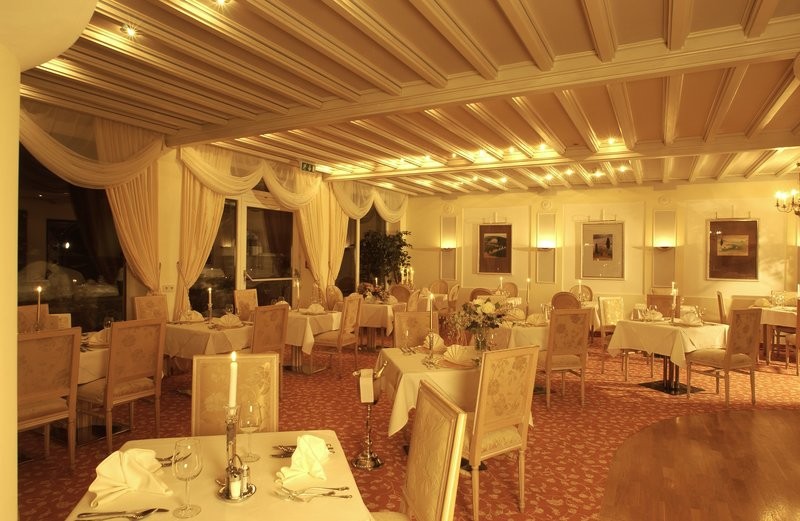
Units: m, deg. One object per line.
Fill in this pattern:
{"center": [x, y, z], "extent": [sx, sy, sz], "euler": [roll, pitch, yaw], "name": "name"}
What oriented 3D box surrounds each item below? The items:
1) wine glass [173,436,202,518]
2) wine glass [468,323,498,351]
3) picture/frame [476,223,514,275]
{"center": [-1.470, 1.458, 3.629], "extent": [0.171, 0.481, 0.343], "euler": [-2, 5, -24], "name": "wine glass"}
{"center": [0.949, 0.884, 6.033], "extent": [0.291, 0.284, 0.250], "euler": [1, 5, 17], "name": "wine glass"}
{"center": [2.664, -0.285, 14.941], "extent": [1.079, 1.455, 0.054], "euler": [-1, 5, -15], "name": "picture/frame"}
